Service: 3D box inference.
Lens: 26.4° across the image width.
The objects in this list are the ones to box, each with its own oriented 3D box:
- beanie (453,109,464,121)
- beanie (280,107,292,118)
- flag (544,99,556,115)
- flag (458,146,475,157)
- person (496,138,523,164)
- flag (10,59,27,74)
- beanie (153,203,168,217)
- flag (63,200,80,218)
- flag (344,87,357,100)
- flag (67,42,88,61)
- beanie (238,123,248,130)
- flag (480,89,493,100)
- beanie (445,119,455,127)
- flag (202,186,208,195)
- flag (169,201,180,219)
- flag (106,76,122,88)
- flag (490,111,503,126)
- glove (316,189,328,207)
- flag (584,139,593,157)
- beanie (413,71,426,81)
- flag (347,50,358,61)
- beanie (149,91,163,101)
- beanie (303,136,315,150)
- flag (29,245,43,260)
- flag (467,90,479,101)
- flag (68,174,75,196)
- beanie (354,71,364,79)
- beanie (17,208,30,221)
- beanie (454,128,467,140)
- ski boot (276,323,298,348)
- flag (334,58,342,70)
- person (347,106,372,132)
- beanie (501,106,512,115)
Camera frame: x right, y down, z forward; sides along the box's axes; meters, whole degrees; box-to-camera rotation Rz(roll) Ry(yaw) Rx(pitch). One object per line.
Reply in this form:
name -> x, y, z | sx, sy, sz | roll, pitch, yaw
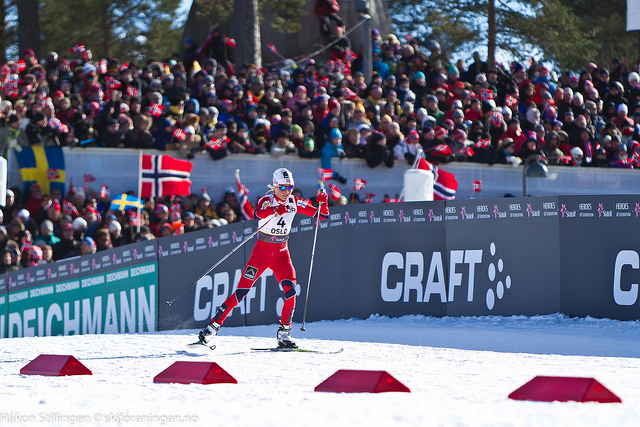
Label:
beanie -> 3.603, -2.568, 35.627 | 0.223, 0.236, 0.236 | -4, 14, -20
beanie -> -0.828, -2.499, 33.907 | 0.244, 0.262, 0.253 | 4, 6, 12
flag -> 6.263, -2.890, 37.206 | 0.129, 0.399, 0.278 | 2, -7, 44
flag -> 3.771, -1.579, 34.995 | 0.257, 0.086, 0.284 | 2, 44, -16
person -> 4.863, -1.526, 35.407 | 0.484, 0.695, 1.046 | -9, -9, 27
flag -> -7.434, -3.659, 33.991 | 0.330, 0.109, 0.369 | -12, 40, 21
beanie -> -3.701, -0.106, 32.115 | 0.260, 0.267, 0.239 | -31, 1, 18
flag -> -5.729, -0.075, 31.627 | 0.283, 0.371, 0.156 | -41, -3, -23
flag -> 0.766, -3.101, 35.182 | 0.284, 0.271, 0.225 | 10, 32, -40
flag -> -6.217, -4.201, 35.743 | 0.287, 0.356, 0.898 | -2, 1, -15
beanie -> -1.874, -2.143, 33.650 | 0.231, 0.162, 0.282 | -2, 1, -4
flag -> 4.531, -3.236, 37.115 | 0.319, 0.286, 0.273 | -1, 1, 3
beanie -> 3.364, -2.336, 35.407 | 0.240, 0.206, 0.233 | -1, 1, 6
flag -> -2.776, -0.567, 33.224 | 0.071, 0.149, 0.033 | -18, 2, -36
flag -> -3.376, -0.044, 32.155 | 0.091, 0.336, 0.199 | 8, 6, 40
flag -> -5.128, -3.270, 34.155 | 0.257, 0.299, 0.083 | 4, -2, -9
flag -> 4.626, -2.494, 35.950 | 0.312, 0.389, 0.128 | -1, 1, 7
glove -> 0.044, -0.315, 29.331 | 0.224, 0.334, 0.146 | -8, 6, -26
flag -> 7.148, -1.714, 36.416 | 0.231, 0.440, 0.184 | -1, 1, -4
beanie -> 2.678, -3.707, 36.795 | 0.318, 0.281, 0.413 | -1, 1, 10
flag -> 0.897, -4.349, 37.659 | 0.259, 0.343, 0.044 | 25, -14, 2
beanie -> -3.995, -2.867, 33.520 | 0.201, 0.223, 0.216 | 4, -6, -11
beanie -> -0.259, -1.765, 33.792 | 0.216, 0.191, 0.236 | -1, 2, -12
flag -> -6.366, 0.922, 30.843 | 0.295, 0.555, 0.280 | 4, -3, -16
flag -> 4.089, -3.164, 36.804 | 0.266, 0.091, 0.295 | 27, 49, 26
flag -> -5.849, -0.663, 32.328 | 0.140, 0.380, 0.471 | -2, 1, -11
beanie -> 1.055, -3.717, 36.677 | 0.154, 0.204, 0.209 | -1, -31, -13
beanie -> -6.749, 0.037, 31.247 | 0.206, 0.243, 0.223 | 5, 1, -4
beanie -> 3.579, -2.029, 35.088 | 0.211, 0.309, 0.216 | -1, 6, -15
ski boot -> -0.667, 2.605, 28.676 | 0.417, 0.329, 0.278 | -2, 1, -2
flag -> 0.507, -4.074, 37.110 | 0.244, 0.276, 0.463 | -3, 36, 1
person -> 0.984, -2.340, 34.399 | 0.851, 0.679, 0.461 | 2, 3, -8
beanie -> 4.983, -2.746, 36.527 | 0.235, 0.221, 0.616 | -1, 1, 13
